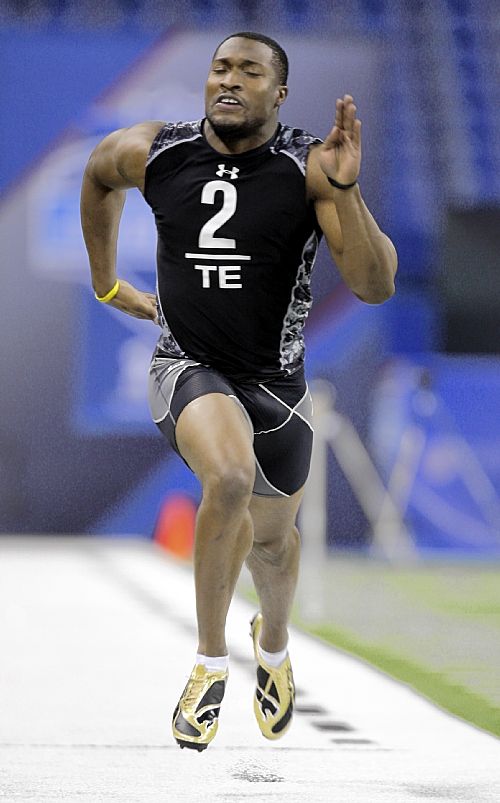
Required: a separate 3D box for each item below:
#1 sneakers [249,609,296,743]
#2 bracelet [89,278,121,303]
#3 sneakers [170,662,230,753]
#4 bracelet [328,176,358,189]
[{"bbox_3d":[0.058,0.717,2.133,0.084,0.104,0.242,-2,55,2],"label":"sneakers"},{"bbox_3d":[-0.404,-0.332,2.387,0.033,0.064,0.081,39,56,-1],"label":"bracelet"},{"bbox_3d":[-0.093,0.614,1.762,0.081,0.109,0.203,12,57,-3],"label":"sneakers"},{"bbox_3d":[0.177,-0.426,1.637,0.052,0.022,0.025,11,41,12],"label":"bracelet"}]
